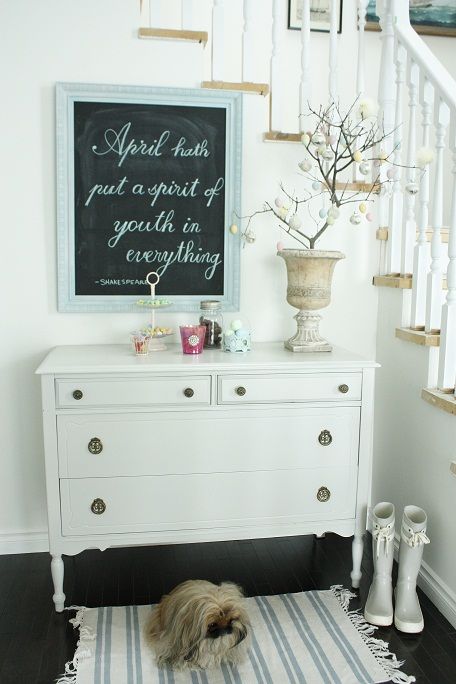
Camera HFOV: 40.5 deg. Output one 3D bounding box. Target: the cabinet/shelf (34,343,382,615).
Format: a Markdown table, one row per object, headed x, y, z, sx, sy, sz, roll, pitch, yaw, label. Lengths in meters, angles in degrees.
| x | y | z | sx | sy | sz | roll | pitch | yaw | label |
| --- | --- | --- | --- | --- | --- | --- | --- | --- | --- |
| -0.074 | 0.440 | 2.034 | 0.850 | 0.616 | 0.325 | -2 | 9 | -9 | cabinet/shelf |

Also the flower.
| x | y | z | sx | sy | sz | roll | pitch | yaw | label |
| --- | --- | --- | --- | --- | --- | --- | --- | --- | --- |
| 0.422 | -0.647 | 2.263 | 0.656 | 0.602 | 0.536 | -6 | 11 | -36 | flower |

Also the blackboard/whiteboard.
| x | y | z | sx | sy | sz | roll | pitch | yaw | label |
| --- | --- | --- | --- | --- | --- | --- | --- | --- | --- |
| -0.316 | -0.559 | 2.246 | 0.857 | 0.956 | 0.053 | -2 | 8 | -15 | blackboard/whiteboard |

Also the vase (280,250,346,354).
| x | y | z | sx | sy | sz | roll | pitch | yaw | label |
| --- | --- | --- | --- | --- | --- | --- | --- | --- | --- |
| 0.301 | -0.153 | 2.260 | 0.260 | 0.357 | 0.269 | 4 | 10 | 37 | vase |

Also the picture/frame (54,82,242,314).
| x | y | z | sx | sy | sz | roll | pitch | yaw | label |
| --- | --- | --- | --- | --- | --- | --- | --- | --- | --- |
| -0.317 | -0.554 | 2.246 | 0.878 | 0.983 | 0.055 | -2 | 8 | -15 | picture/frame |

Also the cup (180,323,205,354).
| x | y | z | sx | sy | sz | roll | pitch | yaw | label |
| --- | --- | --- | --- | --- | --- | --- | --- | --- | --- |
| -0.119 | -0.011 | 2.145 | 0.095 | 0.098 | 0.095 | -1 | 5 | 0 | cup |

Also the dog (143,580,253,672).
| x | y | z | sx | sy | sz | roll | pitch | yaw | label |
| --- | --- | --- | --- | --- | --- | --- | --- | --- | --- |
| -0.088 | 0.786 | 1.805 | 0.228 | 0.138 | 0.225 | -5 | 17 | -30 | dog |
